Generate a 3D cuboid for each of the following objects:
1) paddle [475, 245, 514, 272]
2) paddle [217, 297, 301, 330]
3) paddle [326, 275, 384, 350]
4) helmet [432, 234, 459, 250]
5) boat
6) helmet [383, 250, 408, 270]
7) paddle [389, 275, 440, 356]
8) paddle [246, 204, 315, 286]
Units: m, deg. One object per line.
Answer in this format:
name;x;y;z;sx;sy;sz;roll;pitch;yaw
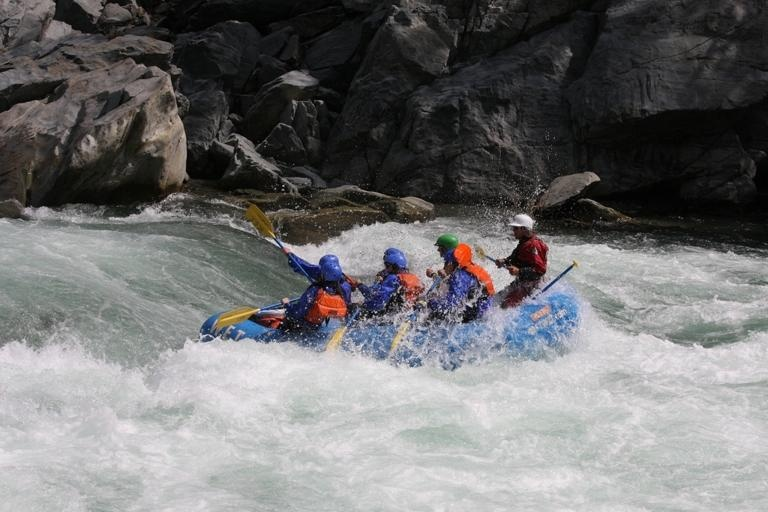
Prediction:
paddle;1.874;0.048;13.817;1.053;0.261;0.246;25;-30;58
paddle;-1.836;0.792;13.186;1.595;0.159;0.294;-16;61;-32
paddle;-0.427;0.879;12.779;0.291;1.292;0.171;16;-36;36
helmet;1.000;-0.230;13.192;0.306;0.224;0.236;28;22;27
boat;0.321;1.209;12.699;4.230;0.672;1.940;-1;2;9
helmet;0.184;0.016;13.060;0.348;0.211;0.270;27;14;33
paddle;0.438;0.928;12.728;0.183;1.570;0.080;19;-39;23
paddle;-1.919;-0.154;15.842;0.225;0.360;2.516;9;30;-44
